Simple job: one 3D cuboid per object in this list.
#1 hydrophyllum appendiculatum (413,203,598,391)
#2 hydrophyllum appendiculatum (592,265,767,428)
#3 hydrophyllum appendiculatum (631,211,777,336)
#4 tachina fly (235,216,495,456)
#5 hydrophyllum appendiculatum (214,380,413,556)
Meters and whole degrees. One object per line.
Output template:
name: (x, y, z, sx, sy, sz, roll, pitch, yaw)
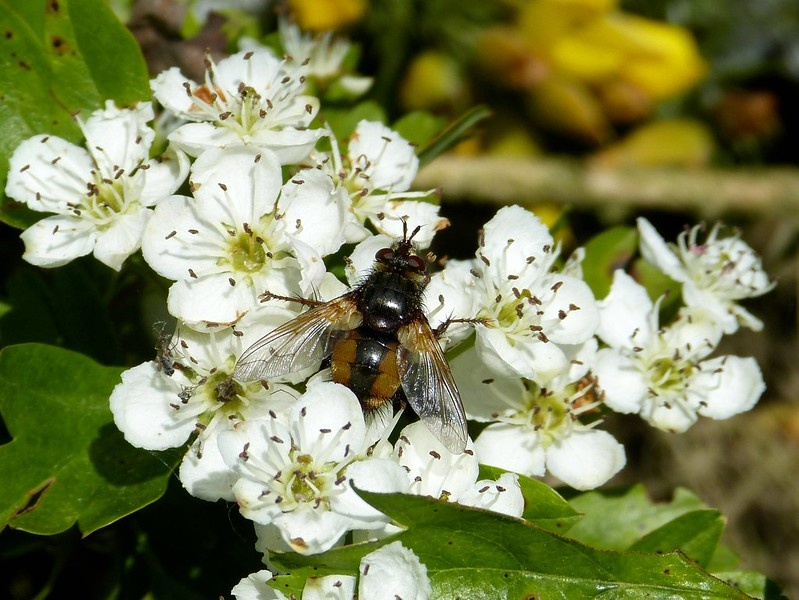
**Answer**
hydrophyllum appendiculatum: (0.271, -0.011, 2.110, 0.413, 0.157, 0.331, -2, 66, -14)
hydrophyllum appendiculatum: (0.625, 0.157, 2.197, 0.286, 0.142, 0.395, -32, 80, -19)
hydrophyllum appendiculatum: (0.752, -0.039, 2.284, 0.294, 0.122, 0.291, 17, 49, -28)
tachina fly: (-0.048, 0.070, 2.172, 0.542, 0.171, 0.519, 19, 58, 4)
hydrophyllum appendiculatum: (-0.182, 0.356, 1.884, 0.301, 0.068, 0.310, -24, 75, -6)
